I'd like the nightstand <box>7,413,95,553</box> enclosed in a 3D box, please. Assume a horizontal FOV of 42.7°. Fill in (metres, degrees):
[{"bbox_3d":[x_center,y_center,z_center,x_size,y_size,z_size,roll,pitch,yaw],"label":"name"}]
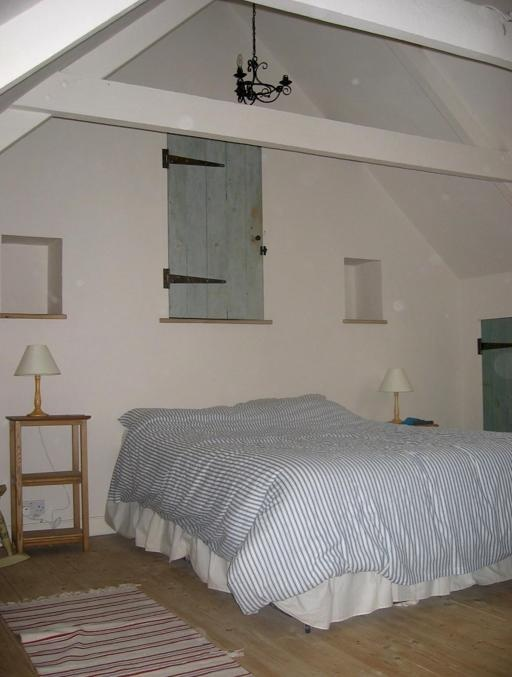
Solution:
[{"bbox_3d":[-1.141,0.788,3.599,0.433,0.735,0.497,0,-5,-15],"label":"nightstand"}]
